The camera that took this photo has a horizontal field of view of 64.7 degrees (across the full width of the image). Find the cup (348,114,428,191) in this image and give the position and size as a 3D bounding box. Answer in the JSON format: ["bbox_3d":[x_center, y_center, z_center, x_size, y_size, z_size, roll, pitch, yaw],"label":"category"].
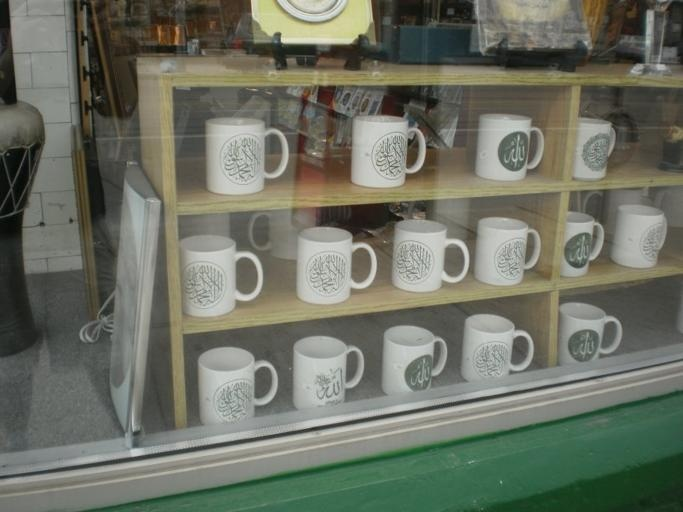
[{"bbox_3d":[0.075,-0.188,0.967,0.145,0.116,0.097,-4,21,-17],"label":"cup"}]

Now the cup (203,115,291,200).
[{"bbox_3d":[-0.175,-0.167,0.894,0.147,0.116,0.095,-6,24,-35],"label":"cup"}]

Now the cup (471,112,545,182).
[{"bbox_3d":[0.322,-0.206,1.046,0.147,0.119,0.096,-6,18,-19],"label":"cup"}]

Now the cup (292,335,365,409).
[{"bbox_3d":[-0.036,0.215,1.075,0.151,0.121,0.096,-3,13,-34],"label":"cup"}]

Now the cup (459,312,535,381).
[{"bbox_3d":[0.320,0.192,1.166,0.157,0.127,0.103,4,11,-19],"label":"cup"}]

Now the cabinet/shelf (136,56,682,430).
[{"bbox_3d":[0.099,-0.028,1.002,0.708,0.395,0.175,-5,35,-10],"label":"cabinet/shelf"}]

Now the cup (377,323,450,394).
[{"bbox_3d":[0.135,0.203,1.121,0.149,0.120,0.095,-1,12,-34],"label":"cup"}]
